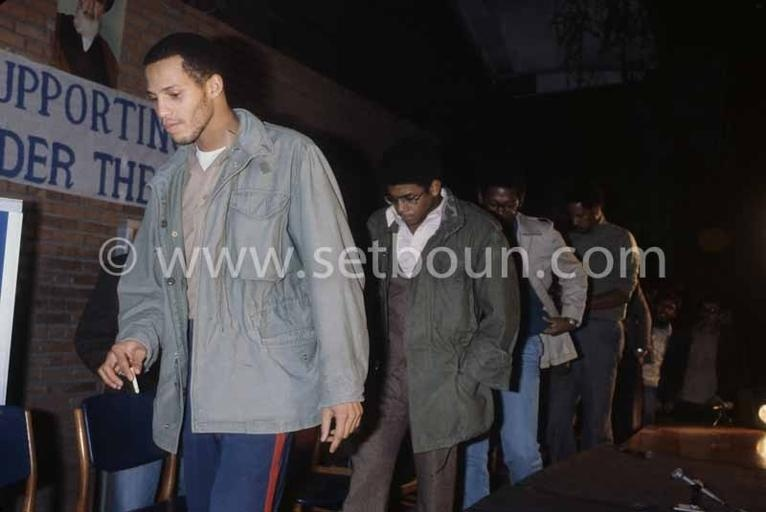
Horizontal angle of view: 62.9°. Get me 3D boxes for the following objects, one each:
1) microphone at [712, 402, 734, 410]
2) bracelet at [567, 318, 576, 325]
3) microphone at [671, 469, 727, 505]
[{"bbox_3d":[3.707,1.612,6.829,0.141,0.056,0.140,-11,-2,44],"label":"microphone"},{"bbox_3d":[1.517,0.516,5.044,0.046,0.031,0.054,3,-14,26],"label":"bracelet"},{"bbox_3d":[1.594,1.137,3.129,0.267,0.172,0.175,4,1,-12],"label":"microphone"}]
